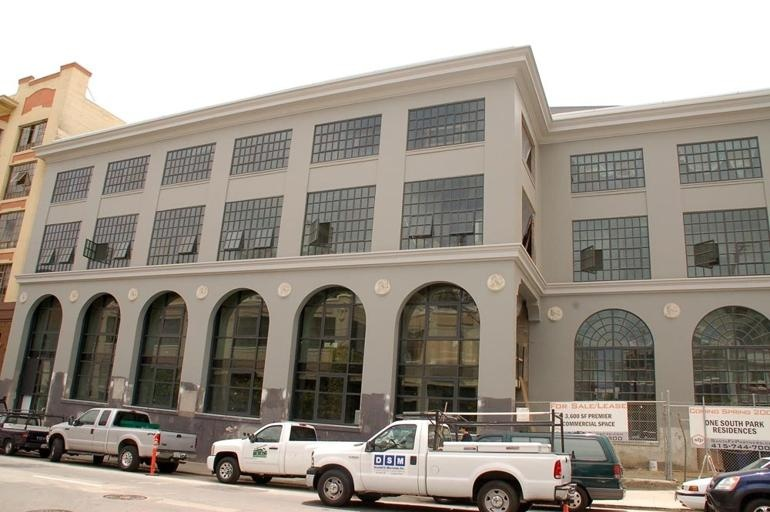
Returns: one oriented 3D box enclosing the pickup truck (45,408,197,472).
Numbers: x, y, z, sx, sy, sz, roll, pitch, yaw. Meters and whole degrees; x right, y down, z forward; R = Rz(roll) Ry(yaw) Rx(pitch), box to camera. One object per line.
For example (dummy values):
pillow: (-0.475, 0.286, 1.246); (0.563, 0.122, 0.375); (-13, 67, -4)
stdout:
pickup truck: (-12.320, 8.546, 23.613); (7.009, 2.725, 2.050); (-7, -22, 21)

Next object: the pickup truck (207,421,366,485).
pickup truck: (-4.211, 8.056, 21.094); (6.470, 2.020, 2.827); (-6, -22, 21)

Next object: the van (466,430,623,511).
van: (5.551, 7.961, 18.721); (5.996, 2.097, 2.835); (1, -14, 11)
